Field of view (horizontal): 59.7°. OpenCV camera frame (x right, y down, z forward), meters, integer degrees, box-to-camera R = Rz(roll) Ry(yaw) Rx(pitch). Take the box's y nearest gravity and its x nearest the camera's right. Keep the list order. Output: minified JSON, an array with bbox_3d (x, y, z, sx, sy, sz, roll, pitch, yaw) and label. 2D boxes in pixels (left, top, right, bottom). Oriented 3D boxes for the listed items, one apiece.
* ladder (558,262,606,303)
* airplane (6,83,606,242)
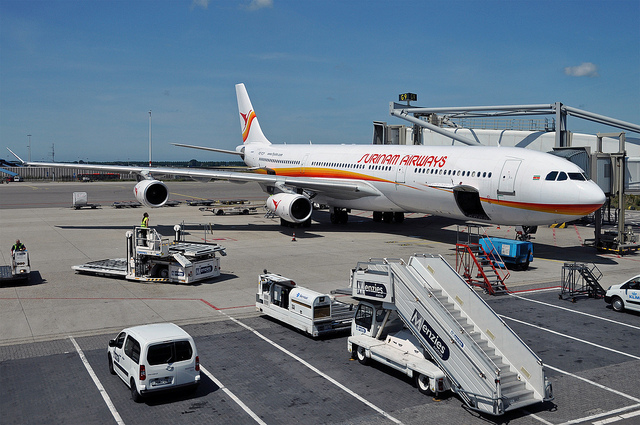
[{"bbox_3d":[13.681,3.599,29.807,2.396,1.895,1.647,-8,-1,8],"label":"ladder"},{"bbox_3d":[-0.558,-4.292,43.344,40.535,10.165,19.645,12,18,39],"label":"airplane"}]
